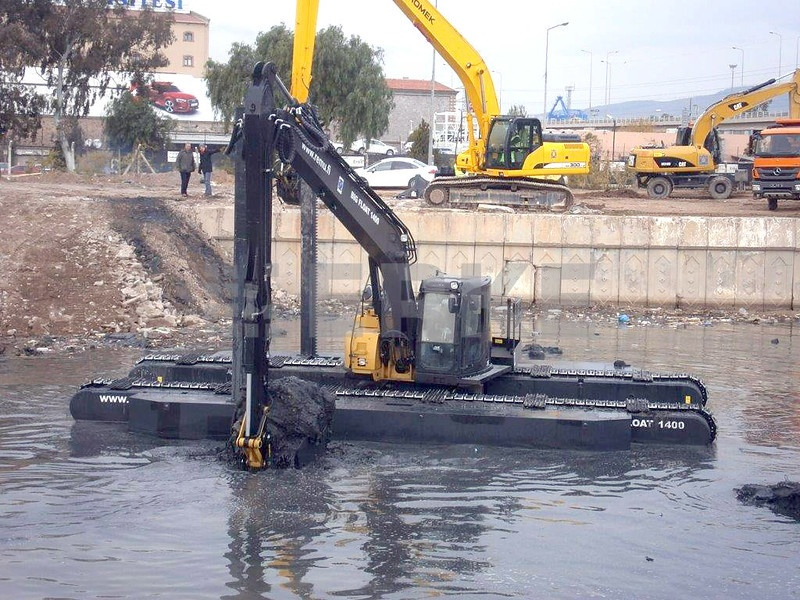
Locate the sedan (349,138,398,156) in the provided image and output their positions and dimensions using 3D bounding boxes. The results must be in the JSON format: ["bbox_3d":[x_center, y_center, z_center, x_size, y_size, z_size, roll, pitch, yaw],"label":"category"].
[{"bbox_3d":[-1.160,-7.015,74.439,2.420,0.996,1.150,-2,13,-21],"label":"sedan"}]

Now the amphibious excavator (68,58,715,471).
[{"bbox_3d":[0.237,-3.873,38.284,14.713,9.843,8.981,1,8,8],"label":"amphibious excavator"}]
